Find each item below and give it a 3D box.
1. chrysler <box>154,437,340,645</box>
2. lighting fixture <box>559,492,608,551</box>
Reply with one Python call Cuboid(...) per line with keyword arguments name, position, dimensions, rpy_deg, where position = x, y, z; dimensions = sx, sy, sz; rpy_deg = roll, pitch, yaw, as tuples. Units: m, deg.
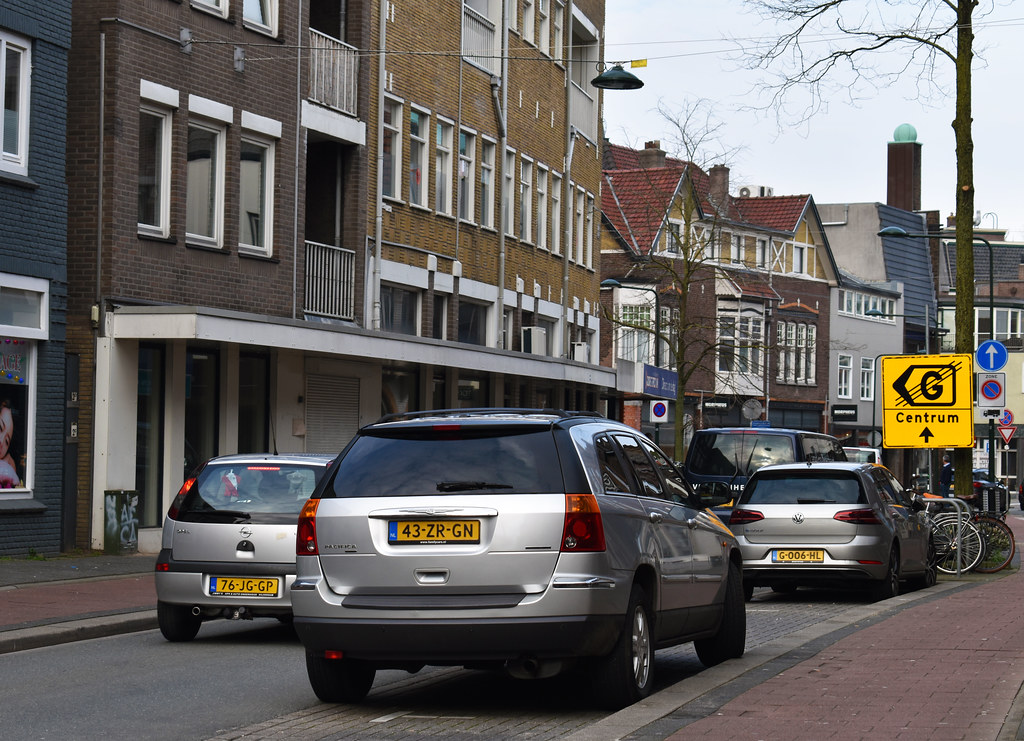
Cuboid(name="chrysler", position=(-2.774, 1.738, 13.750), dimensions=(1.551, 2.064, 2.439), rpy_deg=(0, -4, -4))
Cuboid(name="lighting fixture", position=(0.475, 1.064, 9.039), dimensions=(0.340, 0.437, 0.222), rpy_deg=(-1, -13, -3))
